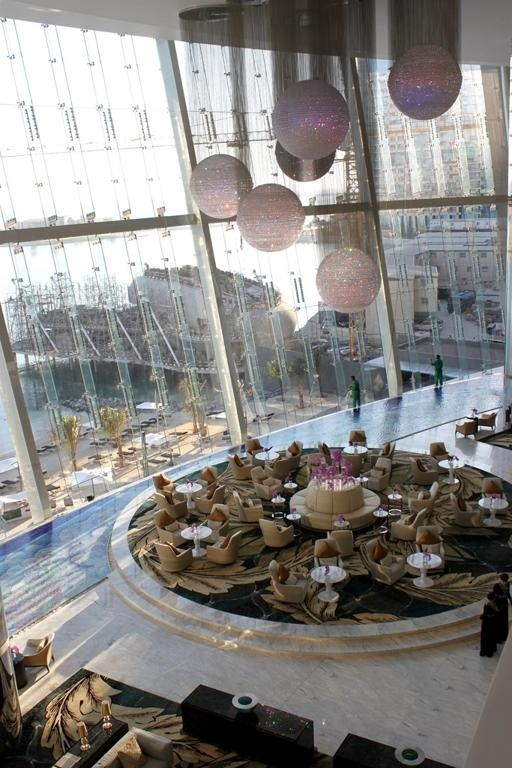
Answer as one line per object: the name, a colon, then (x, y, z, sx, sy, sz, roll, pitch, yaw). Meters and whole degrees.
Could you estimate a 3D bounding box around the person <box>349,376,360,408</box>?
person: (3.727, 0.356, 19.233, 0.303, 1.184, 0.570, -5, 12, 8)

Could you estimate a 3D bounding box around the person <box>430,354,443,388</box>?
person: (7.806, -0.514, 21.900, 0.400, 1.197, 1.340, -2, 12, 19)

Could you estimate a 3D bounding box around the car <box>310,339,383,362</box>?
car: (3.389, -1.218, 19.543, 3.444, 0.897, 0.906, -1, 17, -15)

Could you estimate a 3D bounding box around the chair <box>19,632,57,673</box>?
chair: (-3.287, 4.044, 7.777, 0.497, 0.530, 0.414, 4, 10, -2)
